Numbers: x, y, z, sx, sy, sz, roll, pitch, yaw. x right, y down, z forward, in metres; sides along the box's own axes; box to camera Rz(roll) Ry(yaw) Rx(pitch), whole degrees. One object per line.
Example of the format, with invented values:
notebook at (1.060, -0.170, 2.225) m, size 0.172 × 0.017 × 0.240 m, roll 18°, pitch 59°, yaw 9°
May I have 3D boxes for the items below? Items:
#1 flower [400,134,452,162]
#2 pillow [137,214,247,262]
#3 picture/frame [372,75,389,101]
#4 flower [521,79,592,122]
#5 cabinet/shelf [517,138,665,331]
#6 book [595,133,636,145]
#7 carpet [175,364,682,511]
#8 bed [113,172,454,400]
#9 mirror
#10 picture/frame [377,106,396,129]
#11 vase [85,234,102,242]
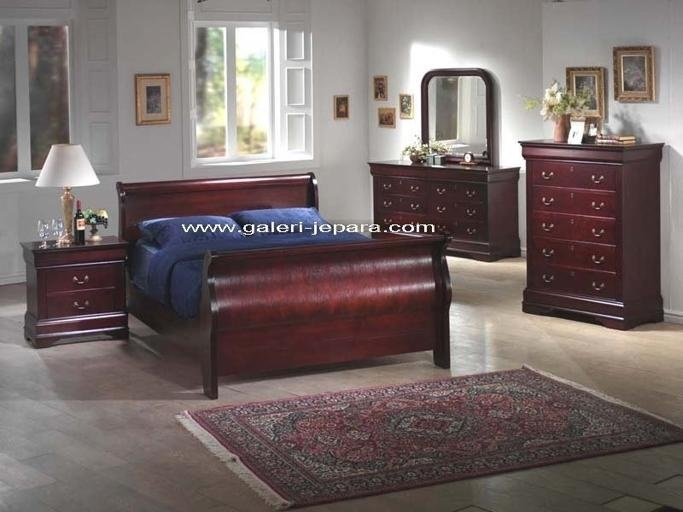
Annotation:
flower at (1.214, -1.580, 8.676) m, size 0.562 × 0.222 × 0.388 m, roll -3°, pitch 6°, yaw -40°
pillow at (-1.488, -0.208, 6.001) m, size 0.669 × 0.141 × 0.487 m, roll -6°, pitch 24°, yaw -28°
picture/frame at (0.607, -2.643, 9.334) m, size 0.251 × 0.384 × 0.042 m, roll 6°, pitch 12°, yaw 38°
flower at (2.115, -1.518, 5.854) m, size 0.543 × 0.303 × 0.405 m, roll -3°, pitch 7°, yaw -16°
cabinet/shelf at (2.375, -0.235, 5.613) m, size 1.278 × 1.711 × 0.532 m, roll 4°, pitch 10°, yaw 28°
book at (2.556, -1.069, 5.444) m, size 0.398 × 0.099 × 0.346 m, roll 1°, pitch 9°, yaw 11°
carpet at (0.496, 0.994, 3.548) m, size 2.574 × 0.046 × 1.633 m, roll -5°, pitch 9°, yaw -25°
bed at (-0.752, 0.185, 5.299) m, size 2.111 × 1.312 × 2.709 m, roll -4°, pitch 8°, yaw -29°
mirror at (1.704, -2.023, 8.540) m, size 1.587 × 1.668 × 0.086 m, roll 7°, pitch 10°, yaw 41°
picture/frame at (0.718, -2.188, 9.319) m, size 0.400 × 0.358 × 0.028 m, roll 6°, pitch 10°, yaw 32°
vase at (-2.252, -0.165, 5.397) m, size 0.097 × 0.035 × 0.092 m, roll 3°, pitch 10°, yaw 16°
